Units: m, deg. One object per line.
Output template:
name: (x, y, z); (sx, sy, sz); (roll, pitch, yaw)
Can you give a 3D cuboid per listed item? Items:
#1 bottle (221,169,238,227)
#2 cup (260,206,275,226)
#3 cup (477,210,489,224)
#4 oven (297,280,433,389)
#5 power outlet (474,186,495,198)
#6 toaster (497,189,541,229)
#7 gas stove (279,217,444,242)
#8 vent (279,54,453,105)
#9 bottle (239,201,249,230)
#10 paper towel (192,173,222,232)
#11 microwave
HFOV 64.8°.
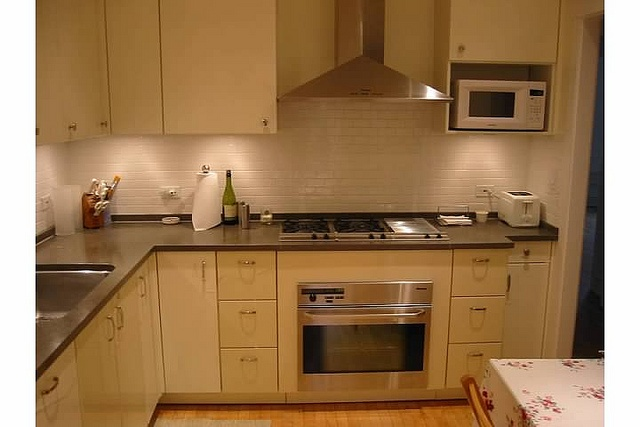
bottle: (-0.555, -0.099, 3.120); (0.088, 0.328, 0.100); (-1, 8, -10)
cup: (-0.335, 0.025, 3.190); (0.086, 0.097, 0.086); (2, 12, -1)
cup: (1.032, 0.022, 3.211); (0.067, 0.052, 0.069); (1, 15, 0)
oven: (0.313, 0.767, 2.929); (0.807, 0.624, 0.558); (-8, -25, 26)
power outlet: (1.071, -0.148, 3.318); (0.129, 0.091, 0.070); (-1, 7, 4)
toaster: (1.237, -0.037, 3.169); (0.166, 0.197, 0.300); (-2, 10, -1)
gas stove: (0.235, 0.091, 2.993); (0.934, 0.064, 0.570); (1, 7, -3)
vent: (0.244, -0.746, 2.775); (0.933, 0.263, 0.189); (1, 8, -2)
bottle: (-0.456, 0.019, 3.020); (0.054, 0.146, 0.153); (0, 7, 2)
paper towel: (-0.677, -0.057, 3.015); (0.130, 0.356, 0.294); (6, 13, 19)
microwave: (1.031, -0.611, 2.982); (0.438, 0.241, 0.317); (0, 6, 1)
